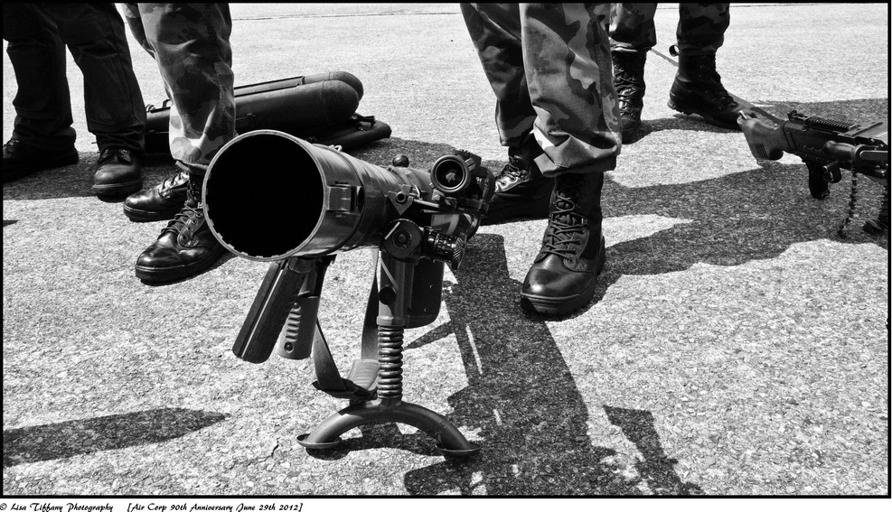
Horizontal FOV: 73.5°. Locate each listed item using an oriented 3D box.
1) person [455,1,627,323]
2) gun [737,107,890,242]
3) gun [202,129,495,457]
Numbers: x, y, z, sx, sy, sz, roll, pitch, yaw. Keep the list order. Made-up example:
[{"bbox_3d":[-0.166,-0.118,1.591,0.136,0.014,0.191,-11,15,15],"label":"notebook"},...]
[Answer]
[{"bbox_3d":[0.506,-0.562,3.009,0.704,1.327,1.337,-3,30,2],"label":"person"},{"bbox_3d":[2.136,-0.508,3.380,0.327,0.553,0.942,-11,30,-10],"label":"gun"},{"bbox_3d":[-0.291,0.055,2.323,0.727,0.762,1.497,0,0,20],"label":"gun"}]
